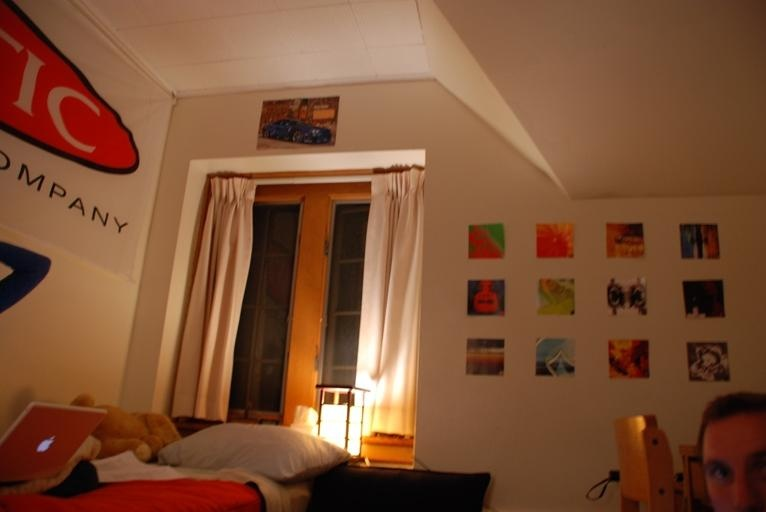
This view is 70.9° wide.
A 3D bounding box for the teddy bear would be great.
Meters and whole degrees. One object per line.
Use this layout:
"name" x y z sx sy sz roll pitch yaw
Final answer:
"teddy bear" -1.735 1.109 3.464 0.566 0.224 0.654 -3 -20 16
